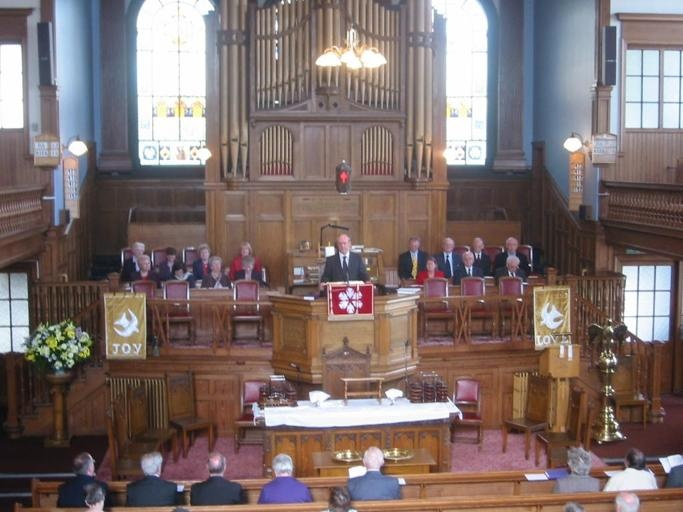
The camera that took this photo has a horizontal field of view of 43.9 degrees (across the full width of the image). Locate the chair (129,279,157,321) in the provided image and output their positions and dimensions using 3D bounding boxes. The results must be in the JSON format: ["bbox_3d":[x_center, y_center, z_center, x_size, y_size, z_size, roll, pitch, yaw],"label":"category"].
[{"bbox_3d":[-3.548,0.785,15.292,0.424,0.959,0.472,0,0,-10],"label":"chair"}]

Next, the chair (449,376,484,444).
[{"bbox_3d":[2.216,2.666,14.666,0.484,1.195,0.506,1,1,-3],"label":"chair"}]

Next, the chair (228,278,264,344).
[{"bbox_3d":[-1.706,1.041,15.339,0.440,1.210,0.558,1,2,-21],"label":"chair"}]

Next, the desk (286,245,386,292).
[{"bbox_3d":[-0.116,0.271,15.764,1.538,0.897,0.741,1,1,-7],"label":"desk"}]

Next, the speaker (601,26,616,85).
[{"bbox_3d":[5.516,-4.126,17.385,0.247,1.176,0.139,-1,2,-8],"label":"speaker"}]

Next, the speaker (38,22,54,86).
[{"bbox_3d":[-6.036,-4.135,17.308,0.380,1.312,0.343,-2,3,-36],"label":"speaker"}]

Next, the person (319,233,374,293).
[{"bbox_3d":[0.044,0.381,13.929,0.657,1.535,0.682,-4,-7,4],"label":"person"}]

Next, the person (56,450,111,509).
[{"bbox_3d":[-3.645,3.206,11.912,0.692,1.276,0.582,1,6,2],"label":"person"}]

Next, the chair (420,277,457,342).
[{"bbox_3d":[1.803,1.004,15.732,0.639,1.121,0.934,-1,2,-2],"label":"chair"}]

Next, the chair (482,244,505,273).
[{"bbox_3d":[3.315,0.080,18.447,0.474,0.915,0.665,0,1,4],"label":"chair"}]

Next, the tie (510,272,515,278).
[{"bbox_3d":[3.346,0.408,16.510,0.098,0.124,0.034,-2,-15,25],"label":"tie"}]

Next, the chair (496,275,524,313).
[{"bbox_3d":[3.170,0.716,15.798,0.461,0.600,0.775,0,2,13],"label":"chair"}]

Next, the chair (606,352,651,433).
[{"bbox_3d":[5.514,2.590,16.188,0.616,1.658,0.606,0,1,1],"label":"chair"}]

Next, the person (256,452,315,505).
[{"bbox_3d":[-0.754,3.092,11.620,0.533,1.294,0.306,-1,9,-5],"label":"person"}]

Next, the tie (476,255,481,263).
[{"bbox_3d":[2.909,0.077,17.867,0.115,0.151,0.032,1,-6,-3],"label":"tie"}]

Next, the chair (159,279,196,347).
[{"bbox_3d":[-2.970,1.004,15.474,0.718,1.820,0.929,-1,4,-10],"label":"chair"}]

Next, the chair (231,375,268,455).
[{"bbox_3d":[-1.570,2.762,14.532,0.538,1.497,0.644,2,0,-24],"label":"chair"}]

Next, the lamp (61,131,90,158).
[{"bbox_3d":[-5.712,-2.361,18.183,0.445,0.562,0.797,-1,2,-32],"label":"lamp"}]

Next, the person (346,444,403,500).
[{"bbox_3d":[0.430,2.990,11.090,0.644,1.197,0.574,0,3,1],"label":"person"}]

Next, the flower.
[{"bbox_3d":[-5.100,1.657,15.127,1.151,0.943,0.411,-1,2,-2],"label":"flower"}]

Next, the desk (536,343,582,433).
[{"bbox_3d":[3.923,2.281,15.112,0.485,1.793,0.670,2,1,-6],"label":"desk"}]

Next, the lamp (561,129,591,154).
[{"bbox_3d":[5.087,-2.434,18.125,0.689,0.503,0.328,0,1,-35],"label":"lamp"}]
